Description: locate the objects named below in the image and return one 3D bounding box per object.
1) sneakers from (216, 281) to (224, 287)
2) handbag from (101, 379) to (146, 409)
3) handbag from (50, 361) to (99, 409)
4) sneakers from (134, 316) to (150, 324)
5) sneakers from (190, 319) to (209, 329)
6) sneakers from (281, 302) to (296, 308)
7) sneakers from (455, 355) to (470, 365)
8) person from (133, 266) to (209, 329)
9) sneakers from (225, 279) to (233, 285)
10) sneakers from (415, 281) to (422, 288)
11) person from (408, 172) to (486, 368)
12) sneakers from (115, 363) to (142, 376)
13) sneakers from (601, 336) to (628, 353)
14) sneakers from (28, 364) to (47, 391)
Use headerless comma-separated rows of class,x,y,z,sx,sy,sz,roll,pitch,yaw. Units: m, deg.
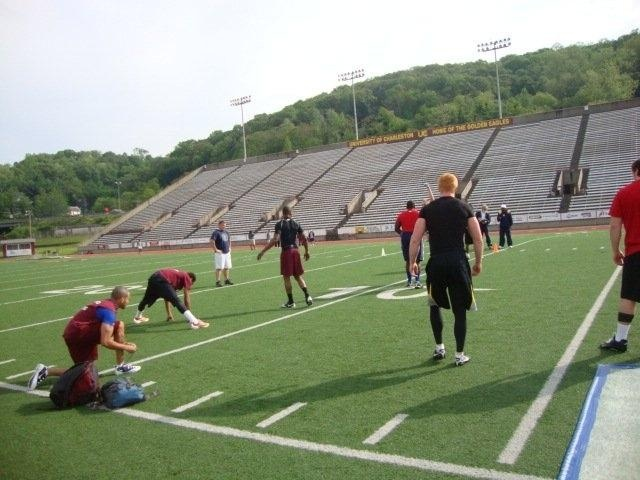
sneakers,-2.653,1.156,13.871,0.133,0.160,0.365,0,-3,-15
handbag,-2.139,1.672,5.697,0.268,0.181,0.368,4,-2,31
handbag,-2.674,1.637,5.949,0.518,0.532,0.435,-8,-31,-6
sneakers,-3.268,1.430,9.661,0.126,0.148,0.334,8,8,16
sneakers,-1.992,1.380,8.727,0.265,0.137,0.135,-4,6,-7
sneakers,-0.595,1.211,9.805,0.247,0.127,0.096,1,1,16
sneakers,1.645,1.364,6.109,0.073,0.096,0.206,5,21,42
person,-2.508,0.972,9.019,1.575,0.936,0.959,-1,-4,34
sneakers,-2.408,1.124,13.984,0.218,0.107,0.079,-3,6,-8
sneakers,1.980,0.914,10.728,0.079,0.105,0.238,1,4,14
person,1.451,0.347,6.073,0.803,2.191,0.400,-4,4,14
sneakers,-2.412,1.634,6.726,0.344,0.159,0.128,-2,8,-9
sneakers,3.432,1.229,6.256,0.133,0.201,0.361,0,2,-40
sneakers,-3.415,1.677,6.392,0.101,0.285,0.127,33,12,38
